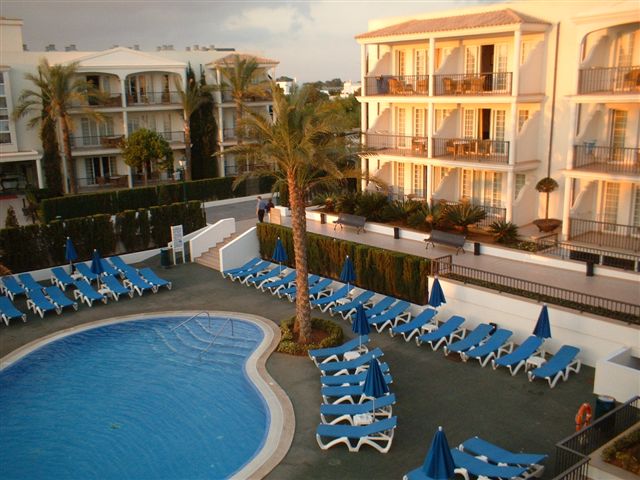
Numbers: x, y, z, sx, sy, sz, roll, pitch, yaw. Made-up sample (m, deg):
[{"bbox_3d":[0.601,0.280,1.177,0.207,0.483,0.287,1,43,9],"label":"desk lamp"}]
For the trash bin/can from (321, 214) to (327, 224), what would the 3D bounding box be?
[{"bbox_3d":[0.180,-1.278,29.065,0.308,0.538,0.463,-16,19,-43],"label":"trash bin/can"}]

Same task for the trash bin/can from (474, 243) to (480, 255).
[{"bbox_3d":[7.149,0.375,22.660,0.321,0.550,0.259,-1,14,4],"label":"trash bin/can"}]

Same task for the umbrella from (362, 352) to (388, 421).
[{"bbox_3d":[1.489,3.831,13.364,0.589,1.438,0.848,0,14,7],"label":"umbrella"}]

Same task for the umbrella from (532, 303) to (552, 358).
[{"bbox_3d":[7.258,2.869,16.261,0.541,1.887,1.432,5,16,26],"label":"umbrella"}]

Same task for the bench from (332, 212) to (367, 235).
[{"bbox_3d":[1.536,-0.953,27.445,2.262,0.797,0.806,10,18,41],"label":"bench"}]

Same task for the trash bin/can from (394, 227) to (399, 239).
[{"bbox_3d":[3.915,-0.356,25.451,0.259,0.582,0.122,-2,14,2],"label":"trash bin/can"}]

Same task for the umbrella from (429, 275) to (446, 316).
[{"bbox_3d":[4.404,2.072,18.726,0.608,1.643,1.662,1,14,13],"label":"umbrella"}]
